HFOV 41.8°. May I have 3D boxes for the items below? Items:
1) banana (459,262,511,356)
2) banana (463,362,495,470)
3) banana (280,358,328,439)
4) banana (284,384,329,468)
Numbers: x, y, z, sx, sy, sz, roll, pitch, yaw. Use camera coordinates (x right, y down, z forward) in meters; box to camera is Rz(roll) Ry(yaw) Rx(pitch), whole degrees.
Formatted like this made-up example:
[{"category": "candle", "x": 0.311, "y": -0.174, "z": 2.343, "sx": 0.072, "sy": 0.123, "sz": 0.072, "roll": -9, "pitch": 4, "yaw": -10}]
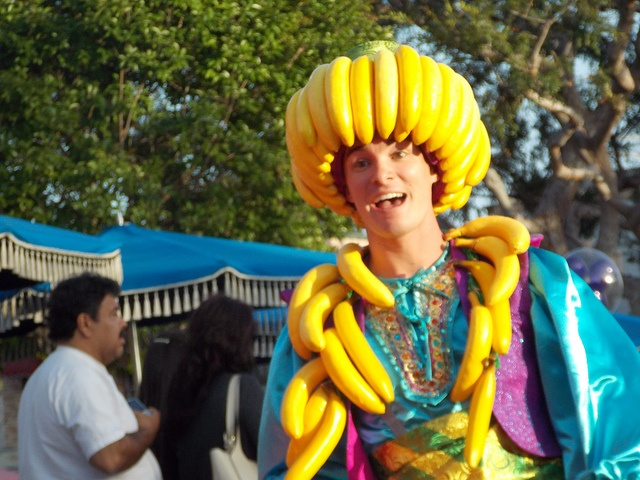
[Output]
[{"category": "banana", "x": 0.834, "y": 0.338, "z": 4.226, "sx": 0.112, "sy": 0.442, "sz": 0.173, "roll": -6, "pitch": -3, "yaw": -39}, {"category": "banana", "x": 0.780, "y": 0.878, "z": 4.128, "sx": 0.107, "sy": 0.567, "sz": 0.128, "roll": 14, "pitch": -12, "yaw": -23}, {"category": "banana", "x": -0.092, "y": 0.818, "z": 4.325, "sx": 0.201, "sy": 0.116, "sz": 0.450, "roll": 36, "pitch": 34, "yaw": 10}, {"category": "banana", "x": -0.097, "y": 0.935, "z": 4.315, "sx": 0.117, "sy": 0.557, "sz": 0.148, "roll": 23, "pitch": -14, "yaw": -12}]
